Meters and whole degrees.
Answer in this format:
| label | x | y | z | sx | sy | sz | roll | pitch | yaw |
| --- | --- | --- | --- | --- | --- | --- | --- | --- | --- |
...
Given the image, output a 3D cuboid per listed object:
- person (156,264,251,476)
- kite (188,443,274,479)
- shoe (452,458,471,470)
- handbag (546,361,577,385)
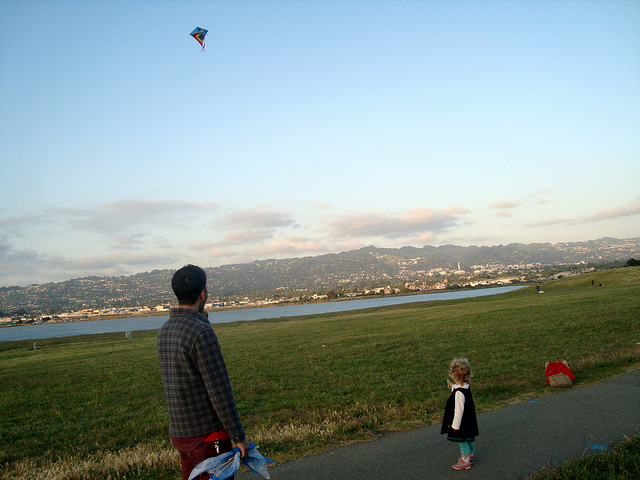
| label | x | y | z | sx | sy | sz | roll | pitch | yaw |
| --- | --- | --- | --- | --- | --- | --- | --- | --- | --- |
| person | -2.061 | 2.164 | 7.885 | 1.296 | 3.503 | 0.553 | -8 | -4 | -4 |
| kite | -1.448 | 3.657 | 7.620 | 0.801 | 0.264 | 0.756 | -1 | -9 | -19 |
| shoe | 2.977 | 4.725 | 9.774 | 0.413 | 0.186 | 0.150 | -1 | -8 | 1 |
| handbag | 7.503 | 4.112 | 14.607 | 0.846 | 0.618 | 0.691 | -5 | -6 | 42 |
